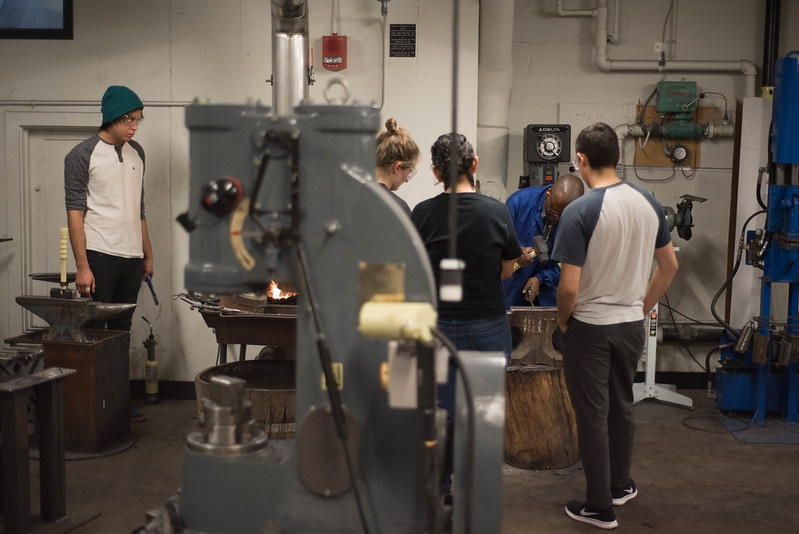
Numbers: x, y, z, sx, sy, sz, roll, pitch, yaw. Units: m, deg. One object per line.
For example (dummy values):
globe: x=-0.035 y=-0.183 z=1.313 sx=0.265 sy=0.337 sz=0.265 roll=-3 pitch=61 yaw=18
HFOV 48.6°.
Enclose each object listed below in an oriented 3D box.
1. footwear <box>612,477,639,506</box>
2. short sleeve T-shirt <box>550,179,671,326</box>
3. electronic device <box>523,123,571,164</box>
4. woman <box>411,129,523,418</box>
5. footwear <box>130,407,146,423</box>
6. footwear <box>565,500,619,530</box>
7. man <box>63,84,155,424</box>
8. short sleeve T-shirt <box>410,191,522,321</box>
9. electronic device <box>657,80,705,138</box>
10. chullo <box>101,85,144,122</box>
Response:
footwear: x=1.602 y=1.590 z=6.269 sx=0.098 sy=0.130 sz=0.271 roll=3 pitch=11 yaw=34
short sleeve T-shirt: x=1.433 y=-0.087 z=5.979 sx=0.913 sy=0.961 sz=0.395 roll=-6 pitch=16 yaw=-20
electronic device: x=1.294 y=-1.126 z=7.981 sx=0.409 sy=0.347 sz=0.445 roll=-1 pitch=10 yaw=-6
woman: x=0.429 y=0.258 z=6.110 sx=0.698 sy=2.386 sz=0.708 roll=-1 pitch=22 yaw=-1
footwear: x=-2.184 y=1.245 z=7.349 sx=0.143 sy=0.062 sz=0.064 roll=0 pitch=4 yaw=12
footwear: x=1.306 y=1.694 z=6.054 sx=0.142 sy=0.161 sz=0.347 roll=-6 pitch=11 yaw=-44
man: x=-2.404 y=-0.083 z=7.352 sx=0.521 sy=2.836 sz=0.793 roll=3 pitch=3 yaw=34
short sleeve T-shirt: x=0.392 y=-0.115 z=5.917 sx=0.812 sy=0.867 sz=0.481 roll=-1 pitch=23 yaw=6
electronic device: x=2.624 y=-1.488 z=8.186 sx=0.443 sy=0.543 sz=0.303 roll=5 pitch=20 yaw=36
chullo: x=-2.232 y=-1.295 z=7.188 sx=0.272 sy=0.282 sz=0.300 roll=10 pitch=10 yaw=1
